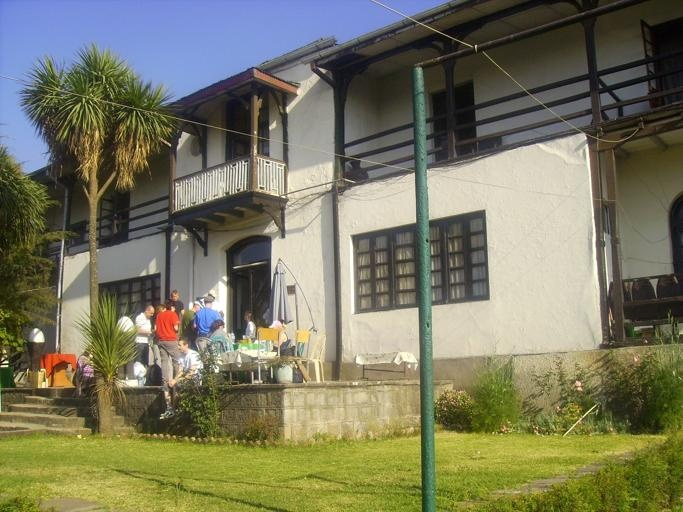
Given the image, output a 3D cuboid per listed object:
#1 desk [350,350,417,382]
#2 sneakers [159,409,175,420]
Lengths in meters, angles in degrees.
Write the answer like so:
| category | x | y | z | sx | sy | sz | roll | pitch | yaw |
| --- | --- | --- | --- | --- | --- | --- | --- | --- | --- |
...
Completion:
| category | x | y | z | sx | sy | sz | roll | pitch | yaw |
| --- | --- | --- | --- | --- | --- | --- | --- | --- | --- |
| desk | 1.185 | 2.714 | 19.765 | 1.528 | 0.963 | 2.196 | -2 | 1 | 5 |
| sneakers | -3.915 | 3.487 | 17.521 | 0.208 | 0.121 | 0.304 | -1 | -3 | 25 |
